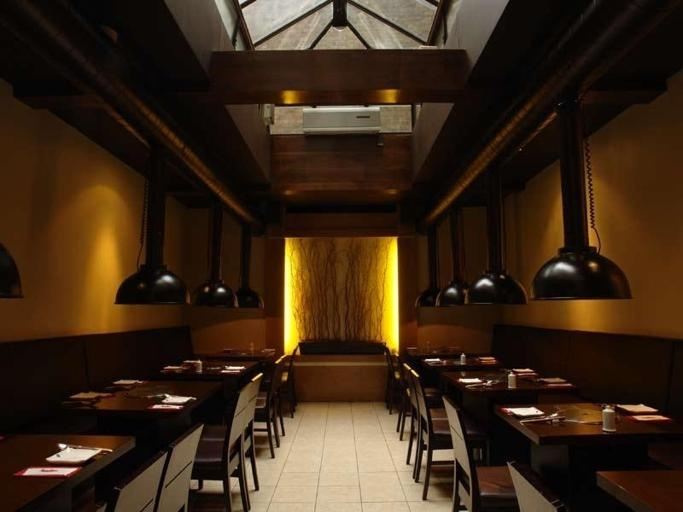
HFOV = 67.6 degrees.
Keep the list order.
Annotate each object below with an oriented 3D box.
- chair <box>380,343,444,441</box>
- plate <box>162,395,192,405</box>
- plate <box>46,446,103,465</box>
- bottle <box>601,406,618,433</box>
[{"bbox_3d":[1.024,2.066,7.672,0.827,1.683,0.843,0,-5,4],"label":"chair"},{"bbox_3d":[-1.470,1.278,4.538,0.273,0.029,0.270,0,-2,6],"label":"plate"},{"bbox_3d":[-1.766,1.315,3.365,0.308,0.037,0.238,0,-2,2],"label":"plate"},{"bbox_3d":[1.998,1.227,3.796,0.113,0.212,0.115,0,-7,0],"label":"bottle"}]
